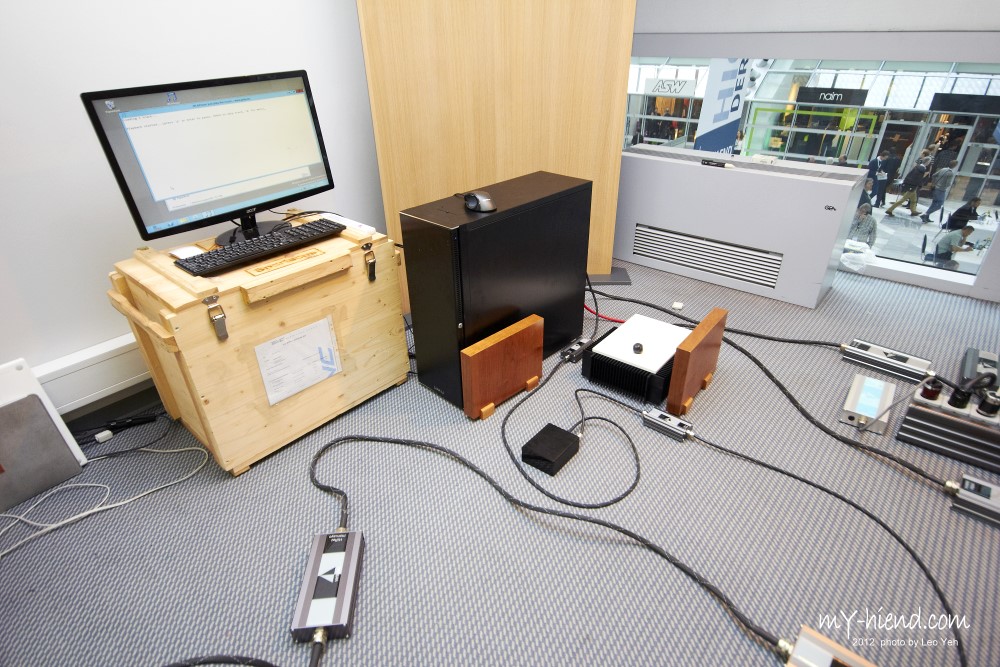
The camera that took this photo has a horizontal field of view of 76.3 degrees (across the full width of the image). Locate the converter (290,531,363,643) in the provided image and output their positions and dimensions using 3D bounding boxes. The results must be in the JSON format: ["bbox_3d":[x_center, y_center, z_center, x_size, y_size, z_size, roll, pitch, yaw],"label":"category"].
[{"bbox_3d":[-0.547,0.820,2.096,0.179,0.077,0.342,-6,42,7],"label":"converter"}]

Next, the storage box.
[{"bbox_3d":[-0.886,-0.020,2.573,0.591,0.715,0.949,23,39,35],"label":"storage box"}]

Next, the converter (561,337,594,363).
[{"bbox_3d":[0.337,0.069,2.817,0.083,0.033,0.145,18,37,27],"label":"converter"}]

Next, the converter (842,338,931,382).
[{"bbox_3d":[1.618,0.109,2.686,0.351,0.072,0.144,16,36,24],"label":"converter"}]

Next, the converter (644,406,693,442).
[{"bbox_3d":[0.645,0.347,2.470,0.170,0.050,0.093,22,37,23],"label":"converter"}]

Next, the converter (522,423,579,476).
[{"bbox_3d":[0.187,0.422,2.359,0.148,0.074,0.206,26,45,27],"label":"converter"}]

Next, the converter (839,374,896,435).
[{"bbox_3d":[1.455,0.275,2.527,0.168,0.092,0.275,18,37,27],"label":"converter"}]

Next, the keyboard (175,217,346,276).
[{"bbox_3d":[-0.870,-0.326,2.379,0.555,0.043,0.179,-19,27,-16],"label":"keyboard"}]

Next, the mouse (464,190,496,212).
[{"bbox_3d":[-0.071,-0.496,2.396,0.081,0.056,0.099,-24,40,-39],"label":"mouse"}]
